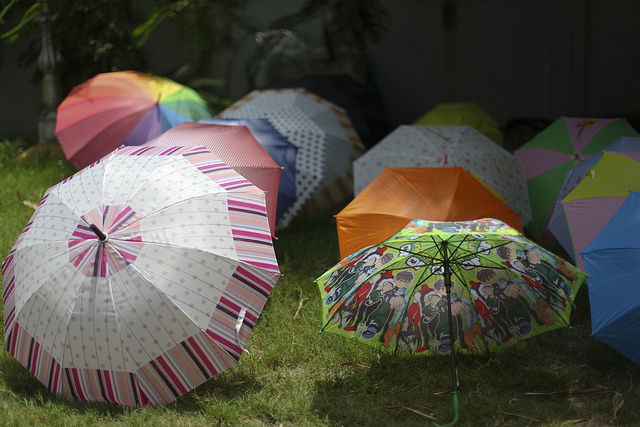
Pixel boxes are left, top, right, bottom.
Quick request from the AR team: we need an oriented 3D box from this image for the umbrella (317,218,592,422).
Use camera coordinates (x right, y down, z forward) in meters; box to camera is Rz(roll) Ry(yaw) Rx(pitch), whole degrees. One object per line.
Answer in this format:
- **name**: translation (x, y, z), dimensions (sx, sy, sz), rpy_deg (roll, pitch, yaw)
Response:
- **umbrella**: translation (1.160, 0.504, 5.819), dimensions (1.830, 1.750, 1.230), rpy_deg (-32, 17, 19)

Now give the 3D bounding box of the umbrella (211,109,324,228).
- **umbrella**: translation (-0.380, -0.707, 6.864), dimensions (1.363, 1.302, 0.952), rpy_deg (-7, -13, -12)
